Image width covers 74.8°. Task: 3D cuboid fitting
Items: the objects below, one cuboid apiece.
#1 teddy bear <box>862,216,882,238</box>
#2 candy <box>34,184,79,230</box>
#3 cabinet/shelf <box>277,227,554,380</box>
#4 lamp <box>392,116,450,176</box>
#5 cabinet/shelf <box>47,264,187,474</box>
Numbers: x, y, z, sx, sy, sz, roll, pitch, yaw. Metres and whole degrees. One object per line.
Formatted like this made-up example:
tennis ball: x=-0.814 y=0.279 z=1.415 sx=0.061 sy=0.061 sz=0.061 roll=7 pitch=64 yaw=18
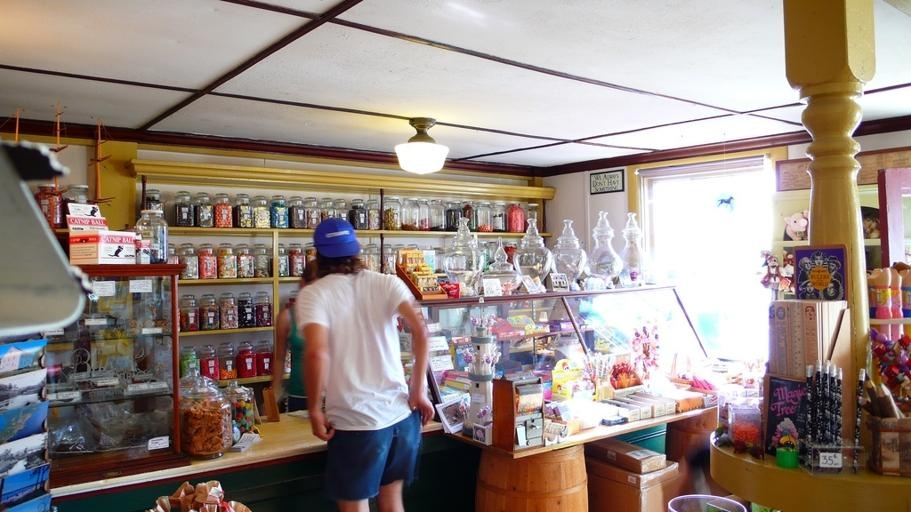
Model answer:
teddy bear: x=3.724 y=-0.261 z=5.336 sx=0.106 sy=0.193 sz=0.193 roll=-6 pitch=-2 yaw=33
candy: x=-3.517 y=-0.454 z=5.252 sx=0.265 sy=0.429 sz=0.343 roll=-3 pitch=-2 yaw=-38
cabinet/shelf: x=-0.460 y=0.389 z=3.761 sx=1.113 sy=0.600 sz=1.803 roll=-14 pitch=26 yaw=-39
lamp: x=-0.317 y=-1.023 z=5.449 sx=0.521 sy=0.494 sz=0.473 roll=5 pitch=4 yaw=3
cabinet/shelf: x=-2.053 y=0.672 z=3.642 sx=0.730 sy=1.265 sz=0.321 roll=-3 pitch=-3 yaw=-32
